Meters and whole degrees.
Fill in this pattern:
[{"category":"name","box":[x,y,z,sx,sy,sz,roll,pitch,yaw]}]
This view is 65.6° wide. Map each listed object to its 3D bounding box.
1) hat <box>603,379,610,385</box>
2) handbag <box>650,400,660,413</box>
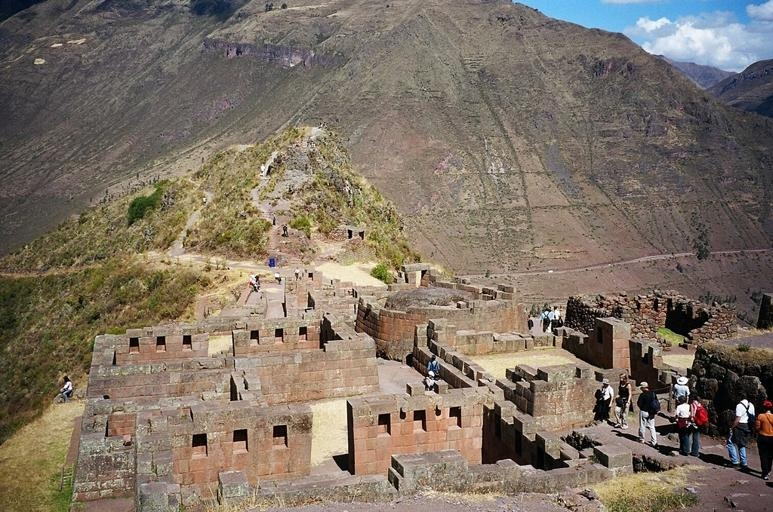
[{"category":"hat","box":[7.499,4.284,20.470,0.141,0.153,0.170,-1,74,3]},{"category":"handbag","box":[8.376,4.705,18.791,0.290,0.378,0.154,8,17,-5]}]
